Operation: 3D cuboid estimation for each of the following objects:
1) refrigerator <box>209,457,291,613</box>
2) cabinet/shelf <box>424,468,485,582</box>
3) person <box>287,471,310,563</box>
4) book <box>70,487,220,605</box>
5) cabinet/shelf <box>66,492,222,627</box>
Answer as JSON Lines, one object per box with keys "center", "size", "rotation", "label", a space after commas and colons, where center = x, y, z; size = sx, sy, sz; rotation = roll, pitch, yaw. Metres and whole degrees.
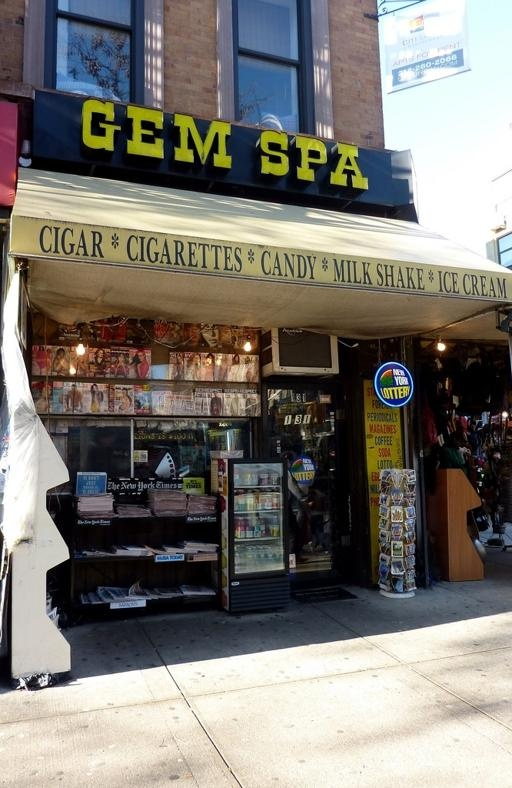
{"center": [-0.047, 1.285, 6.233], "size": [0.587, 1.365, 0.472], "rotation": [3, -9, -26], "label": "refrigerator"}
{"center": [2.304, 1.439, 7.507], "size": [0.408, 1.202, 0.659], "rotation": [-2, -1, 5], "label": "cabinet/shelf"}
{"center": [0.447, 1.322, 7.136], "size": [0.219, 0.955, 0.282], "rotation": [3, 0, -25], "label": "person"}
{"center": [-1.071, 1.391, 6.007], "size": [0.983, 0.762, 0.337], "rotation": [3, -13, -24], "label": "book"}
{"center": [-1.034, 1.432, 6.023], "size": [1.400, 1.107, 0.719], "rotation": [1, -4, -19], "label": "cabinet/shelf"}
